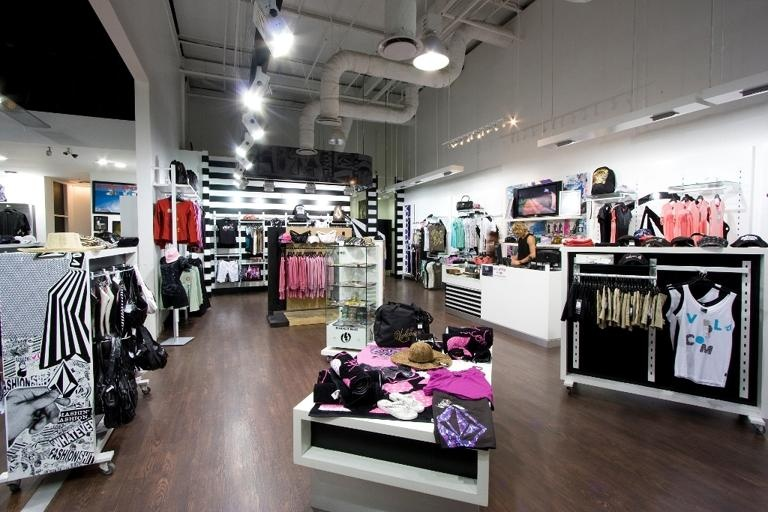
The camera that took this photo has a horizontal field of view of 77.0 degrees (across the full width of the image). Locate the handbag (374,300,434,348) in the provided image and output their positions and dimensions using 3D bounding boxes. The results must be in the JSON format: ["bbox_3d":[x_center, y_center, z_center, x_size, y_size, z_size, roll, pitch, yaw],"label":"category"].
[{"bbox_3d":[0.209,0.838,5.894,0.813,0.593,0.454,1,3,-19],"label":"handbag"}]

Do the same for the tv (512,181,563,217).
[{"bbox_3d":[3.011,-1.126,9.537,0.246,0.690,1.061,-1,4,-34],"label":"tv"}]

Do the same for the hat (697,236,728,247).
[{"bbox_3d":[3.840,-0.172,5.644,0.282,0.125,0.200,4,5,41],"label":"hat"}]

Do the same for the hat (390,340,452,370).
[{"bbox_3d":[0.382,1.105,5.271,0.373,0.132,0.380,1,3,38],"label":"hat"}]

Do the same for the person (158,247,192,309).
[{"bbox_3d":[-3.423,0.347,7.884,0.446,0.987,0.658,0,4,-25],"label":"person"}]

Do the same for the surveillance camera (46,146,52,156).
[{"bbox_3d":[-4.987,-1.577,7.172,0.074,0.113,0.120,-1,4,-35],"label":"surveillance camera"}]

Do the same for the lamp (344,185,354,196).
[{"bbox_3d":[-0.985,-1.820,13.269,0.231,0.081,0.237,1,-14,4],"label":"lamp"}]

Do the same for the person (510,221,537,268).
[{"bbox_3d":[2.492,-0.249,8.649,0.391,0.745,1.293,2,4,15],"label":"person"}]

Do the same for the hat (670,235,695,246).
[{"bbox_3d":[3.644,-0.186,5.891,0.252,0.117,0.444,3,4,31],"label":"hat"}]

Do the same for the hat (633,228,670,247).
[{"bbox_3d":[3.369,-0.281,6.109,0.275,0.184,0.374,0,11,-24],"label":"hat"}]

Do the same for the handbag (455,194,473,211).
[{"bbox_3d":[2.019,-1.372,12.120,0.434,0.448,0.173,3,11,17],"label":"handbag"}]

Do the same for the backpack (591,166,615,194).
[{"bbox_3d":[3.848,-1.343,8.487,0.405,0.527,0.324,3,4,33],"label":"backpack"}]

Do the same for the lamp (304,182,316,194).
[{"bbox_3d":[-1.987,-1.857,12.965,0.238,0.255,0.305,3,6,-2],"label":"lamp"}]

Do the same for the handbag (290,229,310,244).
[{"bbox_3d":[-1.638,-0.385,9.291,0.358,0.256,0.222,1,4,-10],"label":"handbag"}]

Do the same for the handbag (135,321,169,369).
[{"bbox_3d":[-2.714,1.031,5.573,0.316,0.497,0.247,-1,4,-26],"label":"handbag"}]

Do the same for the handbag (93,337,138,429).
[{"bbox_3d":[-2.909,1.324,5.213,0.388,0.945,0.371,-1,4,-30],"label":"handbag"}]

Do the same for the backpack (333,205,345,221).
[{"bbox_3d":[-1.054,-1.006,11.159,0.243,0.358,0.470,1,4,-8],"label":"backpack"}]

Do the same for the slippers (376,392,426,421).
[{"bbox_3d":[0.171,1.448,4.677,0.288,0.092,0.236,3,6,36],"label":"slippers"}]

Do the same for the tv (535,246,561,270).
[{"bbox_3d":[2.727,0.020,7.818,0.333,0.265,0.393,2,1,40],"label":"tv"}]
